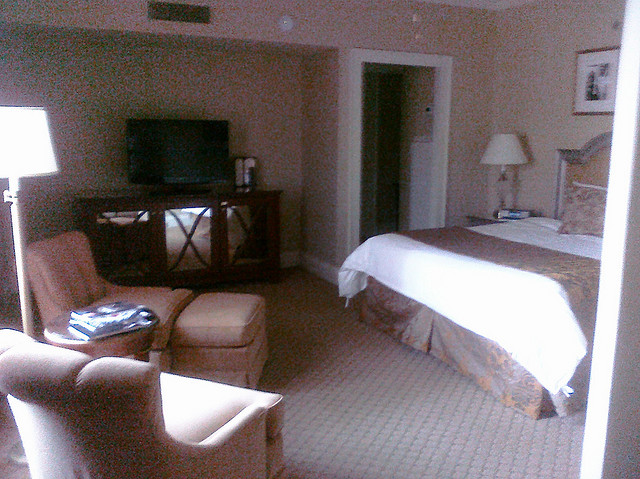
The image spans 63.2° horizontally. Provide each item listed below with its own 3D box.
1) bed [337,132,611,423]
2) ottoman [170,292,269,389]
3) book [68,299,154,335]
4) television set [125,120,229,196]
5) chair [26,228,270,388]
[{"bbox_3d":[1.667,0.008,3.917,2.453,1.506,1.853,-6,16,-31],"label":"bed"},{"bbox_3d":[-0.608,0.651,3.266,0.465,0.531,0.549,1,18,8],"label":"ottoman"},{"bbox_3d":[-1.118,0.413,2.804,0.229,0.053,0.228,10,11,39],"label":"book"},{"bbox_3d":[-1.354,-0.778,4.822,1.020,0.628,0.078,-8,13,-40],"label":"television set"},{"bbox_3d":[-1.043,0.445,3.292,1.334,0.879,0.751,0,13,1],"label":"chair"}]
